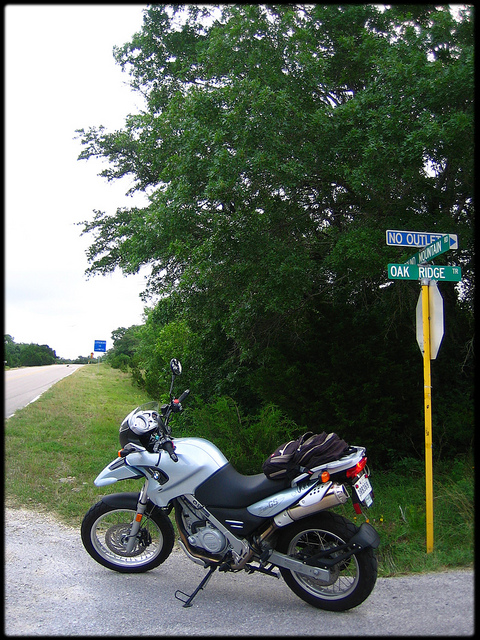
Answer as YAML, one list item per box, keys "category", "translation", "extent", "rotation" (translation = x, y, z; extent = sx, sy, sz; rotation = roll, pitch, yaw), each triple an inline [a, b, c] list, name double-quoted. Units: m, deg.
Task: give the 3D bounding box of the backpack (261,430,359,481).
- category: "backpack"
  translation: [0.475, 0.989, 3.982]
  extent: [0.502, 0.209, 0.402]
  rotation: [-17, -9, 17]

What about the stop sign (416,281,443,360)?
- category: "stop sign"
  translation: [1.877, -0.009, 5.372]
  extent: [0.287, 0.763, 0.176]
  rotation: [-2, -2, 35]

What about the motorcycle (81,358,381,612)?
- category: "motorcycle"
  translation: [-0.113, 1.346, 4.296]
  extent: [2.421, 1.558, 0.925]
  rotation: [-1, -1, 22]
